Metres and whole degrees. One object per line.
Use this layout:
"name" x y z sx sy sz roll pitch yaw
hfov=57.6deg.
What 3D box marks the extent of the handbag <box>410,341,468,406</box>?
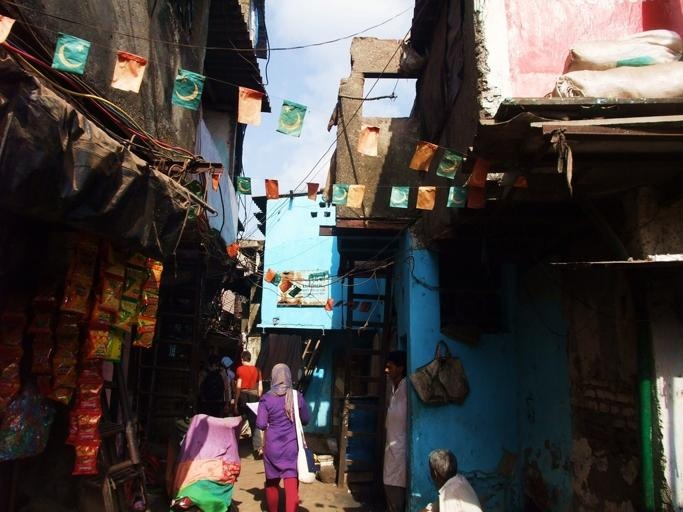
"handbag" 1.359 1.604 8.589 0.803 0.895 0.269 -2 -11 8
